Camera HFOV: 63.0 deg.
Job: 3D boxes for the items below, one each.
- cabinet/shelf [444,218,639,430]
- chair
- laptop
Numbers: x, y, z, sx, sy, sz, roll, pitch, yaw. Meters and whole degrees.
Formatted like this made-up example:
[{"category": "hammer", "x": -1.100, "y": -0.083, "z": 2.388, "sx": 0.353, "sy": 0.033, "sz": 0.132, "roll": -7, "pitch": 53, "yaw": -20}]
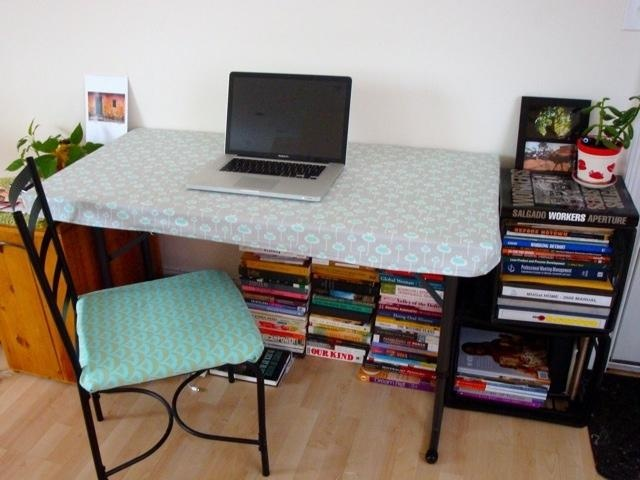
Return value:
[{"category": "cabinet/shelf", "x": 0.844, "y": 0.302, "z": 1.994, "sx": 0.565, "sy": 0.855, "sz": 0.253, "roll": 10, "pitch": 10, "yaw": 8}, {"category": "chair", "x": -0.616, "y": 0.251, "z": 1.858, "sx": 0.824, "sy": 1.145, "sz": 0.631, "roll": -3, "pitch": 26, "yaw": -11}, {"category": "laptop", "x": -0.168, "y": -0.397, "z": 1.876, "sx": 0.518, "sy": 0.366, "sz": 0.483, "roll": 10, "pitch": 23, "yaw": 20}]
